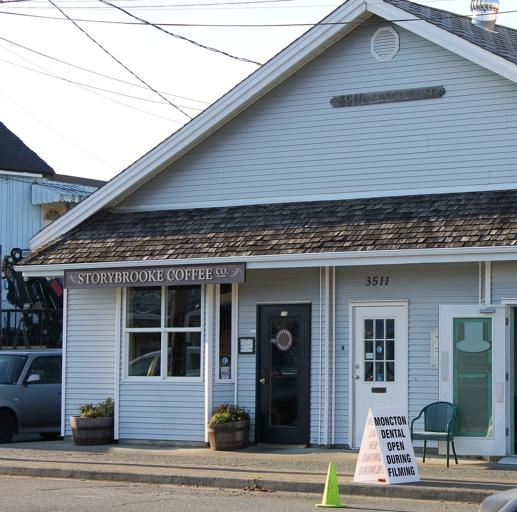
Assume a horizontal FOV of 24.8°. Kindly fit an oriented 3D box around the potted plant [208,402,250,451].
[{"bbox_3d":[-0.496,2.737,18.742,0.690,0.621,0.671,-2,-5,6],"label":"potted plant"}]

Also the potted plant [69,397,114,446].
[{"bbox_3d":[-2.836,2.893,19.938,0.759,0.566,0.801,-2,-1,16],"label":"potted plant"}]

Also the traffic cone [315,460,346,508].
[{"bbox_3d":[0.956,2.881,14.714,0.486,0.577,0.528,-2,-11,17],"label":"traffic cone"}]

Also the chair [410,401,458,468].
[{"bbox_3d":[2.621,2.646,17.457,0.671,0.929,0.692,-1,-4,19],"label":"chair"}]
